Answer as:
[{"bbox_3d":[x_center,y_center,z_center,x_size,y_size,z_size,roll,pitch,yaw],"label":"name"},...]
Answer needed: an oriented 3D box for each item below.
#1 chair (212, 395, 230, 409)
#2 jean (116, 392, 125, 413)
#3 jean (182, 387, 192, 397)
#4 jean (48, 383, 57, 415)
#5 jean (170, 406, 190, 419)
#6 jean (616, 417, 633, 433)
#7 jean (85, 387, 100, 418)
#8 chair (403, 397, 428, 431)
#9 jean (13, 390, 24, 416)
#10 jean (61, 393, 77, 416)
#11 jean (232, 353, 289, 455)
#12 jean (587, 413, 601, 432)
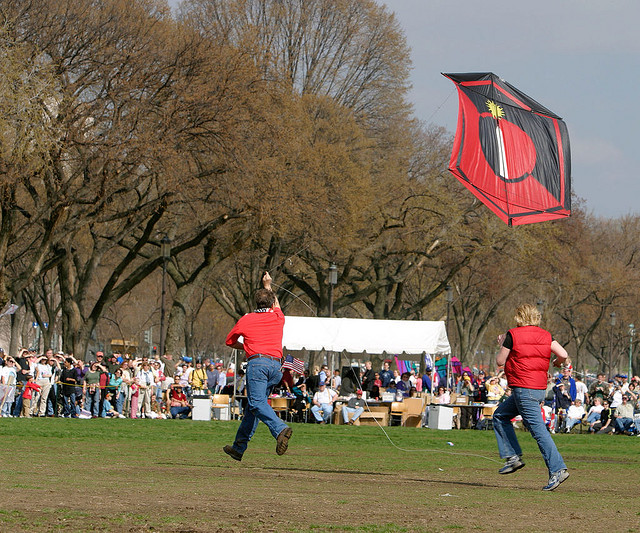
[{"bbox_3d":[-3.189,4.283,57.816,0.418,0.586,0.428,1,-9,-7],"label":"chair"},{"bbox_3d":[-6.261,4.262,56.821,0.182,0.668,0.562,0,-12,5],"label":"jean"},{"bbox_3d":[-4.362,4.058,59.243,0.310,0.329,0.267,6,-12,-21],"label":"jean"},{"bbox_3d":[-8.377,4.113,56.426,0.192,1.003,0.332,-3,-12,20],"label":"jean"},{"bbox_3d":[-4.483,4.633,57.740,0.465,0.360,0.363,-9,-7,20],"label":"jean"},{"bbox_3d":[9.728,5.044,57.804,0.443,0.510,0.158,0,1,8],"label":"jean"},{"bbox_3d":[-7.103,4.199,56.318,0.418,0.876,0.562,3,-12,-7],"label":"jean"},{"bbox_3d":[3.014,4.810,58.264,0.645,1.146,0.588,5,-4,-1],"label":"chair"},{"bbox_3d":[-9.248,4.145,55.480,0.168,0.738,0.431,5,-12,-19],"label":"jean"},{"bbox_3d":[-7.820,4.258,56.230,0.469,0.641,0.457,-2,-12,14],"label":"jean"},{"bbox_3d":[-1.317,3.219,41.940,1.185,2.415,1.185,3,-4,-17],"label":"jean"},{"bbox_3d":[8.872,5.035,58.670,0.424,0.643,0.453,0,-12,8],"label":"jean"}]
